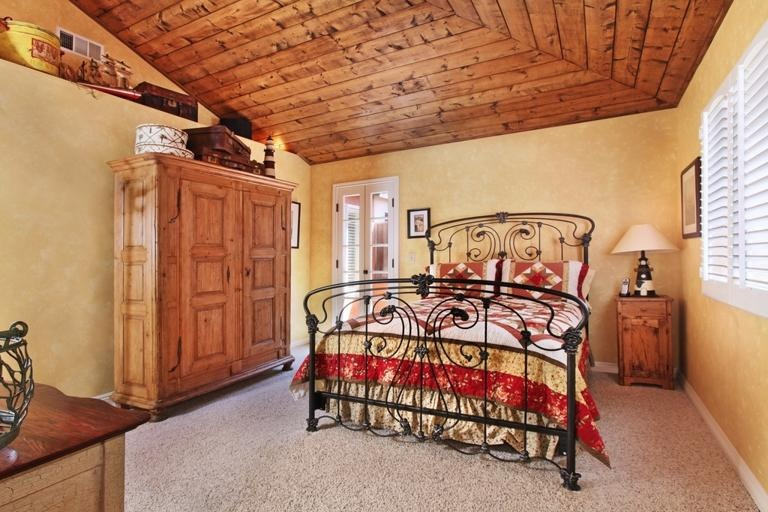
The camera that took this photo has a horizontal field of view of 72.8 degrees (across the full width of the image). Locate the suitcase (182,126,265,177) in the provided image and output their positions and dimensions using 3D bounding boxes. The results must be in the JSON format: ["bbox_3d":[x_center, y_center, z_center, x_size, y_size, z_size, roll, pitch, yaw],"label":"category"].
[{"bbox_3d":[-1.520,-1.005,4.942,0.523,0.263,0.649,0,-2,21],"label":"suitcase"}]

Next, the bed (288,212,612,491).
[{"bbox_3d":[0.868,0.543,4.958,2.176,1.614,2.737,-2,-3,26],"label":"bed"}]

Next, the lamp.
[{"bbox_3d":[2.519,0.032,5.077,0.554,0.733,0.389,1,0,21],"label":"lamp"}]

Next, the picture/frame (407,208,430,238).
[{"bbox_3d":[0.421,-0.396,6.203,0.408,0.423,0.036,0,-4,34],"label":"picture/frame"}]

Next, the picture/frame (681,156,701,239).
[{"bbox_3d":[2.800,-0.507,4.770,0.046,0.754,0.845,0,5,25],"label":"picture/frame"}]
